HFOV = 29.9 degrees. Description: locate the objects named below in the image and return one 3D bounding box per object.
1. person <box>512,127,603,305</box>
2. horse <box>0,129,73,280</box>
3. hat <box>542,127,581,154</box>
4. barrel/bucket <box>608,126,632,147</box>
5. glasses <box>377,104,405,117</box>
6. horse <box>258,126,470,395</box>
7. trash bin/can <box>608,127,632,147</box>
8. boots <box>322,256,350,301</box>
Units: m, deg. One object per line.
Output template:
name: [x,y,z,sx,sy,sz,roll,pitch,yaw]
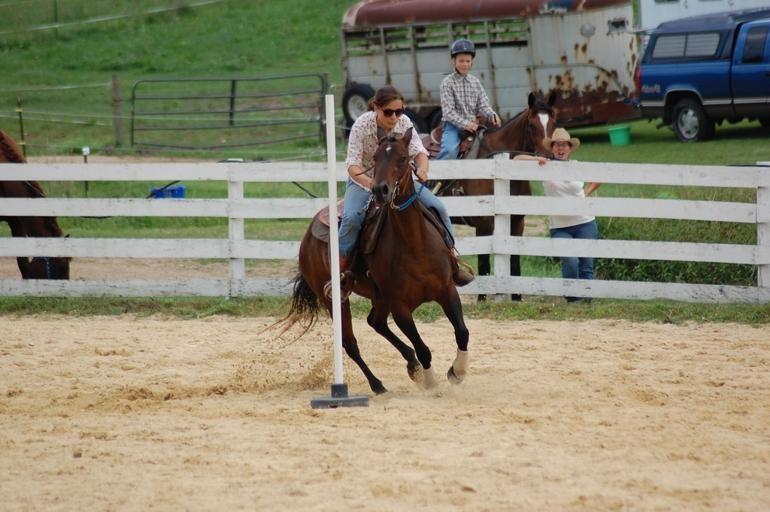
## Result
person: [3.092,-0.710,24.771,1.201,2.943,1.127,2,11,21]
horse: [-6.144,-0.844,25.029,1.304,2.579,0.702,3,11,26]
hat: [2.989,-1.975,24.627,0.628,0.402,0.344,-4,11,-7]
barrel/bucket: [5.150,-2.634,31.848,0.388,0.366,0.446,-2,-4,-4]
glasses: [0.133,-2.141,21.520,0.322,0.165,0.146,-10,14,-31]
horse: [-0.367,-0.004,22.434,3.614,3.962,1.789,6,13,37]
trash bin/can: [5.148,-2.630,31.833,0.387,0.365,0.444,-2,-4,-4]
boots: [-0.715,0.354,22.087,0.386,0.638,0.208,-11,5,-20]
